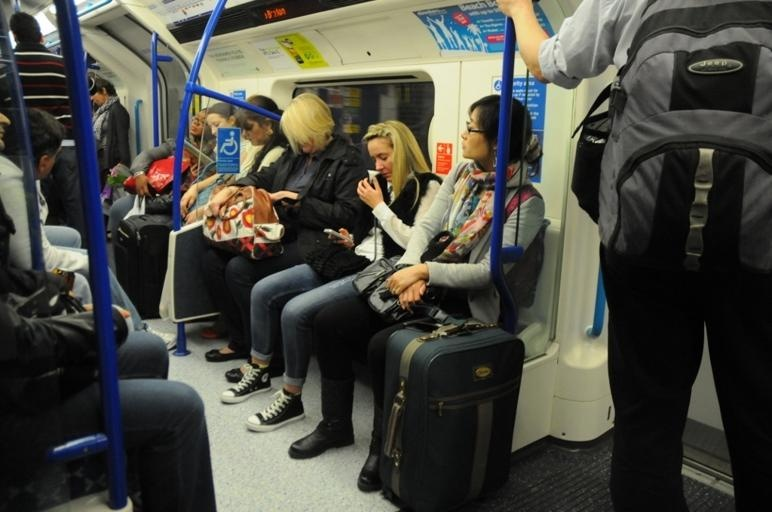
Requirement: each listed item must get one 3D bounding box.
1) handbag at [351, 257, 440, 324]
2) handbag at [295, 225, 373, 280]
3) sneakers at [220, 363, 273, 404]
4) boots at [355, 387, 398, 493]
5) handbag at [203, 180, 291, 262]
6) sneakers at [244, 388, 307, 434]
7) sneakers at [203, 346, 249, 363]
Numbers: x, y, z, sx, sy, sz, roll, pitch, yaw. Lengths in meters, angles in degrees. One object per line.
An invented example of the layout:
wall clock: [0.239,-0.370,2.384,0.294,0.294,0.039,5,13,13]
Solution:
handbag: [0.046,0.160,2.939,0.338,0.147,0.332,-3,39,-40]
handbag: [-0.304,0.025,3.409,0.333,0.118,0.327,-18,39,-27]
sneakers: [-0.853,0.753,3.515,0.126,0.199,0.365,13,14,43]
boots: [-0.045,0.923,2.800,0.151,0.348,0.359,4,10,18]
handbag: [-0.975,-0.243,3.861,0.652,0.449,0.306,11,16,38]
sneakers: [-0.597,0.834,3.273,0.370,0.209,0.146,-8,21,-31]
sneakers: [-1.119,0.698,4.016,0.241,0.064,0.125,6,-5,-25]
